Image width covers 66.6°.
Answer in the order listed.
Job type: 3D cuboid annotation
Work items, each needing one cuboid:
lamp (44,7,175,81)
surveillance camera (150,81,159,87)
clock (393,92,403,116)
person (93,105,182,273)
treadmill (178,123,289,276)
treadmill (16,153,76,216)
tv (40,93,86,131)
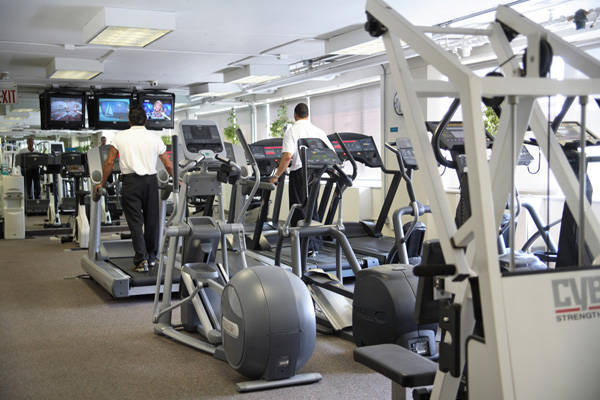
[{"bbox_3d":[-3.472,-2.386,7.654,0.956,0.297,5.323,-1,5,-37],"label":"lamp"},{"bbox_3d":[-3.467,-2.741,10.773,0.147,0.166,0.189,1,-10,-22],"label":"surveillance camera"},{"bbox_3d":[1.673,-1.639,7.786,0.138,0.407,0.435,2,4,6],"label":"clock"},{"bbox_3d":[-1.849,-0.015,5.175,0.694,1.637,0.386,0,5,-23],"label":"person"},{"bbox_3d":[-0.778,0.009,4.710,0.821,1.599,2.337,1,4,-4],"label":"treadmill"},{"bbox_3d":[-6.100,-0.357,10.913,1.187,1.528,3.166,-1,5,-30],"label":"treadmill"},{"bbox_3d":[-5.027,-1.934,9.710,0.779,0.768,0.356,0,5,-18],"label":"tv"}]
